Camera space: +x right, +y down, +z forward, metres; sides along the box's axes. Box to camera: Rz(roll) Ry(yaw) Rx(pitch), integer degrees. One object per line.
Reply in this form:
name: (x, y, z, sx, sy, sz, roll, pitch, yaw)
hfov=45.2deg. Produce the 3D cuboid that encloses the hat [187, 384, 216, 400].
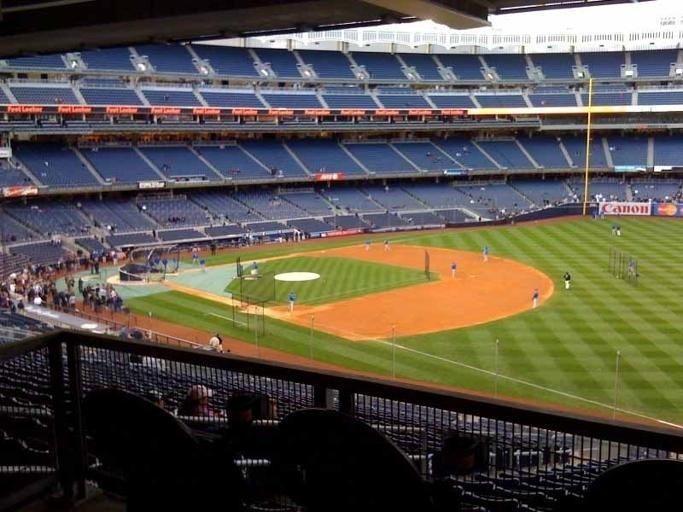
hat: (-1.386, 1.384, 8.281, 0.312, 0.138, 0.194, -1, 7, -24)
